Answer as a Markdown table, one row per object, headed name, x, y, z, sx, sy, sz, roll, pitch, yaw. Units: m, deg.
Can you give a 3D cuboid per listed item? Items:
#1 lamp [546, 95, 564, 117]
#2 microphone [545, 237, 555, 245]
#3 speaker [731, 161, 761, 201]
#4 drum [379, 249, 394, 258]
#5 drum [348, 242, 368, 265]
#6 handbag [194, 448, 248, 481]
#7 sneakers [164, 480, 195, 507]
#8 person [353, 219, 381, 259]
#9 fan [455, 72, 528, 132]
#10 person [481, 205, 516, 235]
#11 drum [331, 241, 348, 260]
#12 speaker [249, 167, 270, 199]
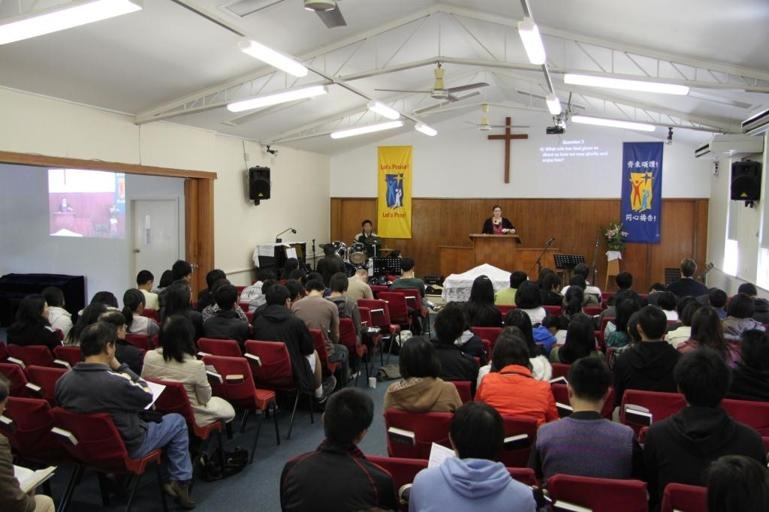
| name | x | y | z | sx | sy | sz | roll | pitch | yaw |
| --- | --- | --- | --- | --- | --- | --- | --- | --- | --- |
| lamp | 3.154 | -2.864 | 10.320 | 0.201 | 0.316 | 1.046 | 2 | 1 | 21 |
| microphone | 4.331 | -0.371 | 14.418 | 0.184 | 0.173 | 0.437 | -32 | 2 | -3 |
| speaker | 6.638 | -1.377 | 10.139 | 0.462 | 0.818 | 0.291 | 2 | 1 | 23 |
| drum | 0.068 | -0.089 | 15.700 | 0.257 | 0.265 | 0.268 | 1 | 8 | 9 |
| drum | -0.608 | -0.032 | 12.953 | 0.472 | 0.302 | 0.688 | -1 | 3 | 0 |
| handbag | -1.598 | 2.066 | 5.439 | 0.360 | 0.182 | 0.295 | 1 | -1 | -38 |
| sneakers | -1.837 | 2.142 | 4.942 | 0.267 | 0.132 | 0.087 | 44 | -4 | -27 |
| person | -0.439 | -0.267 | 13.806 | 0.656 | 1.187 | 0.632 | -5 | 11 | -6 |
| fan | 2.349 | -3.574 | 13.498 | 1.744 | 0.447 | 1.851 | 1 | 1 | -1 |
| person | 2.940 | -0.907 | 14.018 | 0.788 | 1.167 | 0.593 | -1 | -8 | 0 |
| drum | -1.036 | -0.150 | 13.496 | 0.459 | 0.520 | 0.470 | 3 | 14 | 3 |
| speaker | -2.827 | -1.612 | 12.454 | 0.461 | 0.772 | 0.242 | 2 | 1 | -9 |
